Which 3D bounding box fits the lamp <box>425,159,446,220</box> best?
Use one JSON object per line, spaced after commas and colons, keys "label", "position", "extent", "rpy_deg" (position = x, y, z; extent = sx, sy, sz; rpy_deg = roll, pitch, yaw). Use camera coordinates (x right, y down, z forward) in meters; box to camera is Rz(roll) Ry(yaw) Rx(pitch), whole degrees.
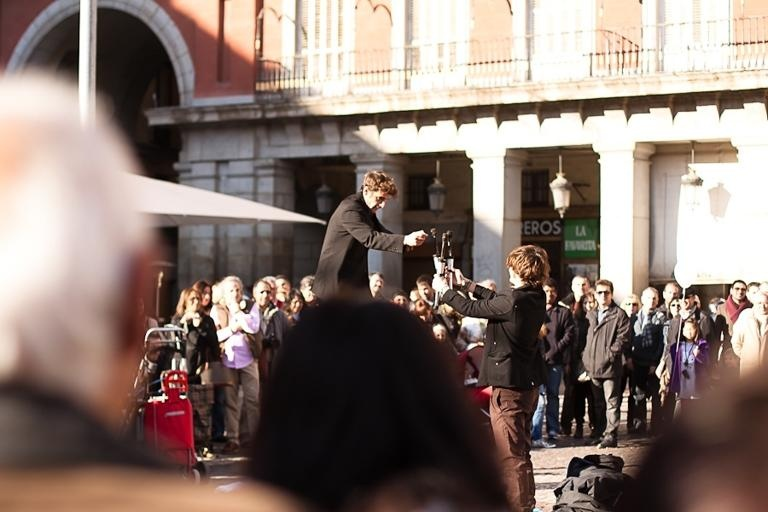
{"label": "lamp", "position": [1.185, -1.498, 29.012], "extent": [0.467, 1.260, 0.471], "rpy_deg": [-1, 3, -33]}

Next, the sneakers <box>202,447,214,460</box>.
{"label": "sneakers", "position": [-2.752, 3.063, 20.149], "extent": [0.121, 0.182, 0.062], "rpy_deg": [-1, -9, -16]}

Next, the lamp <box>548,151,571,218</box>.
{"label": "lamp", "position": [3.822, -1.541, 28.125], "extent": [0.506, 1.397, 0.495], "rpy_deg": [-9, -16, 36]}

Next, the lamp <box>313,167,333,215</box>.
{"label": "lamp", "position": [-1.561, -1.816, 33.975], "extent": [0.475, 0.614, 1.558], "rpy_deg": [-6, -38, -5]}
